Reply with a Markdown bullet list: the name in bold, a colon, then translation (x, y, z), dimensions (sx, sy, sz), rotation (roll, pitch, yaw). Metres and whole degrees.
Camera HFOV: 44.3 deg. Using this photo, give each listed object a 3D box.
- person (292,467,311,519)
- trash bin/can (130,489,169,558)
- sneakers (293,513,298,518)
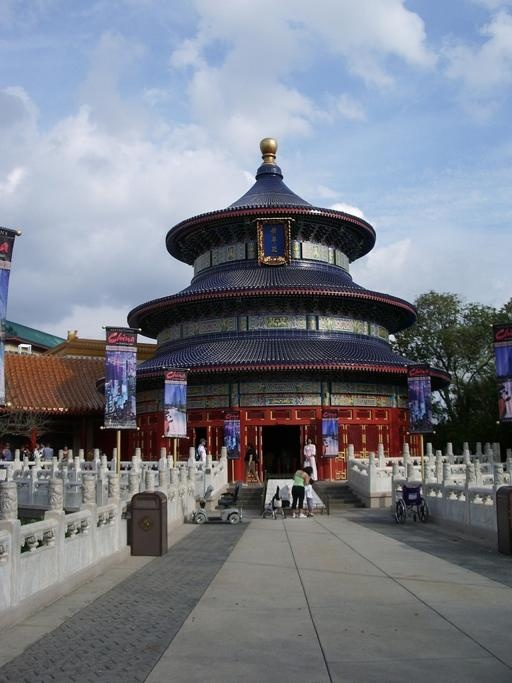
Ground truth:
- **person**: translation (1.447, 4.826, 20.596), dimensions (0.553, 1.649, 0.548), rotation (2, -7, 22)
- **trash bin/can**: translation (-2.137, 3.648, 12.645), dimensions (0.876, 1.175, 0.877), rotation (-11, -14, 42)
- **sneakers**: translation (1.305, 5.728, 20.743), dimensions (0.134, 0.143, 0.165), rotation (-3, -15, 9)
